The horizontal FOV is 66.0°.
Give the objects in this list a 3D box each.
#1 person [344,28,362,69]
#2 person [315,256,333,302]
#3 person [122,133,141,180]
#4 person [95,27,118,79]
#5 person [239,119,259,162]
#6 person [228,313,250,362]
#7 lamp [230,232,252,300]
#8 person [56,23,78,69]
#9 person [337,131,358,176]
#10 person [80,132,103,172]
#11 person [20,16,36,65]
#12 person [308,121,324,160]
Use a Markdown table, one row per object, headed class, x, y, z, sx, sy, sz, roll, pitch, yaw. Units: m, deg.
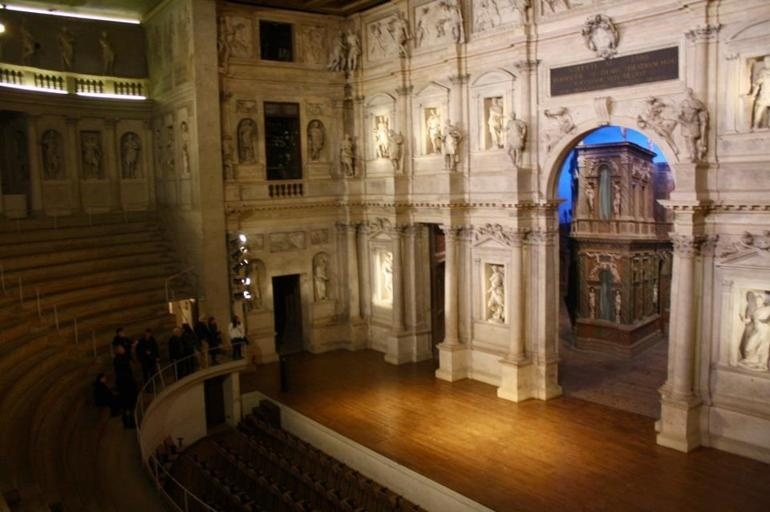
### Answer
| class | x | y | z | sx | sy | sz | roll | pitch | yaw |
| --- | --- | --- | --- | --- | --- | --- | --- | --- | --- |
| person | -1.298 | -8.126 | 23.595 | 0.391 | 1.588 | 0.690 | -17 | 20 | -41 |
| person | -2.577 | 0.858 | 24.352 | 0.783 | 1.866 | 0.406 | -9 | 16 | -21 |
| person | -10.371 | -4.095 | 24.253 | 0.880 | 1.816 | 0.285 | -10 | 16 | -24 |
| person | -11.088 | -8.096 | 23.764 | 0.551 | 1.659 | 0.394 | -9 | 16 | -22 |
| person | -5.231 | -4.398 | 22.687 | 0.846 | 1.656 | 0.418 | -7 | 15 | -16 |
| person | -5.130 | 2.599 | 20.632 | 0.550 | 1.307 | 2.207 | -7 | 15 | -14 |
| lamp | -5.478 | -0.028 | 22.597 | 0.820 | 0.537 | 2.558 | -5 | 43 | -9 |
| person | -12.327 | -8.032 | 23.075 | 0.619 | 1.660 | 0.391 | -12 | 17 | -30 |
| person | -1.492 | -4.004 | 23.876 | 0.720 | 1.621 | 0.540 | -5 | 15 | -5 |
| person | -11.641 | -4.009 | 23.609 | 0.835 | 1.818 | 0.291 | -11 | 16 | -26 |
| person | -13.489 | -8.040 | 22.398 | 0.624 | 1.522 | 0.255 | -11 | 17 | -28 |
| person | -2.770 | -4.644 | 23.847 | 0.820 | 1.528 | 0.273 | -16 | 19 | -40 |
